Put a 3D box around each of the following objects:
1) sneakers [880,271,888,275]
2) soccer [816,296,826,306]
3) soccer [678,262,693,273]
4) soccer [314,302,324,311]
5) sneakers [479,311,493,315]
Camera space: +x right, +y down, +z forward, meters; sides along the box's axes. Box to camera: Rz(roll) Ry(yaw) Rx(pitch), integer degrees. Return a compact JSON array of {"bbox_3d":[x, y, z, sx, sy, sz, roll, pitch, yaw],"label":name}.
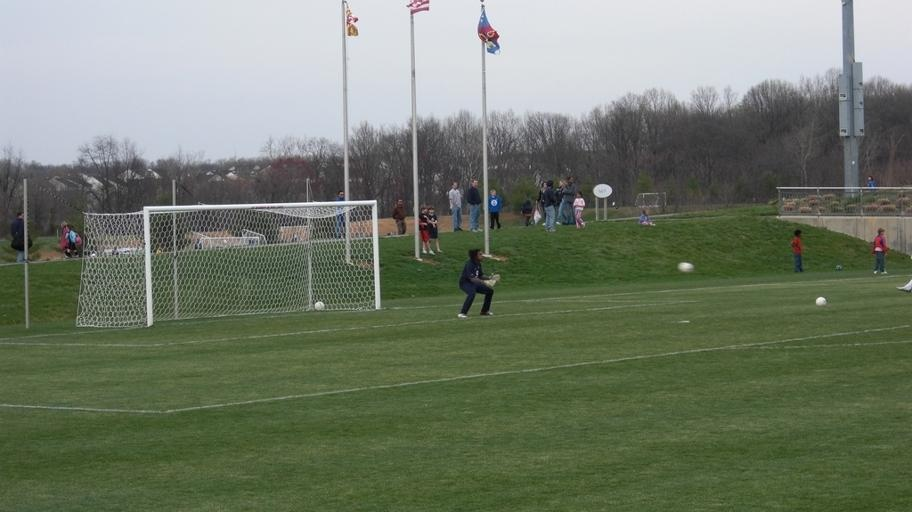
[{"bbox_3d":[21.813,0.842,59.007,0.553,0.181,0.180,-4,7,-44],"label":"sneakers"},{"bbox_3d":[14.926,1.825,47.459,0.428,0.188,0.366,-1,1,1],"label":"soccer"},{"bbox_3d":[11.660,0.600,58.957,0.793,0.388,0.704,-1,6,-9],"label":"soccer"},{"bbox_3d":[-5.976,2.199,51.205,0.343,0.290,0.408,-6,3,-7],"label":"soccer"},{"bbox_3d":[1.266,2.305,47.192,0.484,0.165,0.173,-2,2,-2],"label":"sneakers"}]
